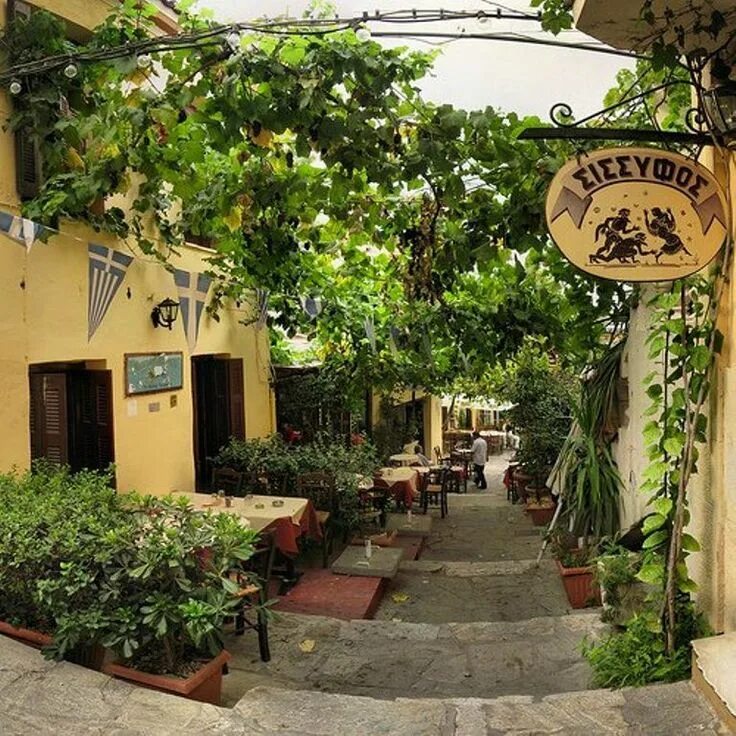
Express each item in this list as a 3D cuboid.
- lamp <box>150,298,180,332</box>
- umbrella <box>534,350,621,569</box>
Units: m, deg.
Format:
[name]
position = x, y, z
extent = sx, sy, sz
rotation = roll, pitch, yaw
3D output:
[lamp]
position = -2.513, -0.662, 8.590
extent = 0.382, 0.456, 0.279
rotation = -1, 2, 14
[umbrella]
position = 2.350, 0.899, 7.559
extent = 0.748, 2.040, 1.900
rotation = -2, -13, 12
